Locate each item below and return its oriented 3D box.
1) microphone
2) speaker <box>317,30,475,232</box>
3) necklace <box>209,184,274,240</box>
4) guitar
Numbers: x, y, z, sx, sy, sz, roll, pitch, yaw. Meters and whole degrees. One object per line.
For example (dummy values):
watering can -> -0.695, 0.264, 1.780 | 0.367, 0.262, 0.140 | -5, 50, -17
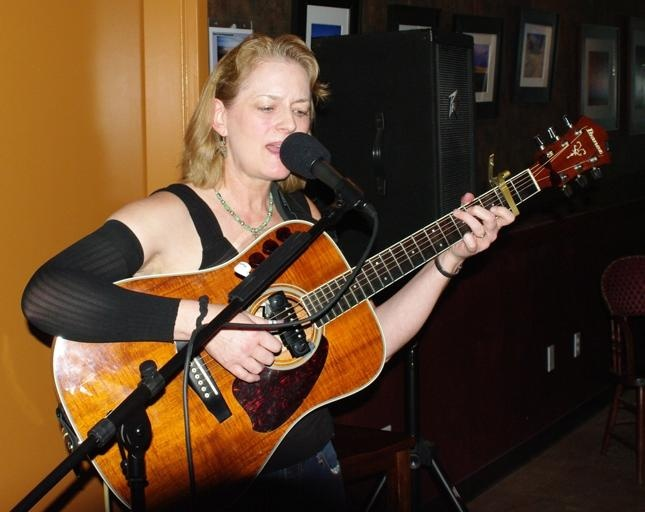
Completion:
microphone -> 0.000, -0.207, 1.369 | 0.095, 0.101, 0.324 | 2, 28, -41
speaker -> 0.319, -0.474, 2.319 | 0.615, 1.031, 0.535 | 2, 6, 27
necklace -> -0.233, -0.099, 1.651 | 0.143, 0.129, 0.025 | 7, -28, -38
guitar -> 0.093, 0.057, 1.708 | 1.855, 0.783, 0.240 | -36, 17, -26
